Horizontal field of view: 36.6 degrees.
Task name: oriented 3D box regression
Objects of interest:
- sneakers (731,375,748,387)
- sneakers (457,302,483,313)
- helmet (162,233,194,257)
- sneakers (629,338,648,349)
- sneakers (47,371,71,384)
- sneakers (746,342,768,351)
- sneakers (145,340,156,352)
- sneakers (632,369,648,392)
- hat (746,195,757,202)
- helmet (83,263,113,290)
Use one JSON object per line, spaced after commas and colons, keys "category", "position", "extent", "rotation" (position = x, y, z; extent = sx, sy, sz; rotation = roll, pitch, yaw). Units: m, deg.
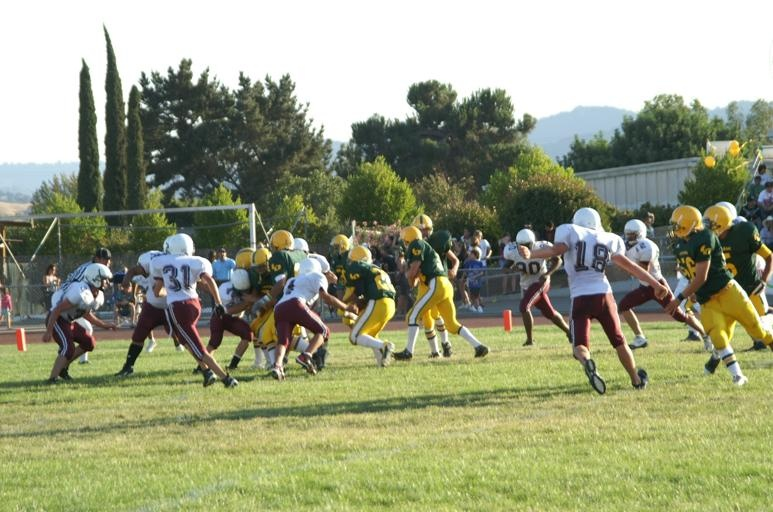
{"category": "sneakers", "position": [5.887, 2.066, 19.534], "extent": [0.238, 0.160, 0.261], "rotation": [-2, 1, 6]}
{"category": "sneakers", "position": [2.362, 1.350, 30.752], "extent": [0.213, 0.296, 0.617], "rotation": [-3, -3, -39]}
{"category": "helmet", "position": [-3.536, -0.227, 21.407], "extent": [0.472, 0.404, 0.380], "rotation": [29, 35, -14]}
{"category": "sneakers", "position": [4.847, 1.665, 22.423], "extent": [0.423, 0.230, 0.154], "rotation": [-5, 14, 24]}
{"category": "sneakers", "position": [-5.822, 2.290, 21.963], "extent": [0.144, 0.205, 0.448], "rotation": [5, -16, 28]}
{"category": "sneakers", "position": [6.750, 1.629, 21.497], "extent": [0.359, 0.284, 0.130], "rotation": [3, 7, 22]}
{"category": "sneakers", "position": [-4.808, 1.953, 25.319], "extent": [0.139, 0.196, 0.409], "rotation": [-2, -8, -4]}
{"category": "sneakers", "position": [4.277, 2.038, 19.666], "extent": [0.144, 0.443, 0.195], "rotation": [-9, -39, 27]}
{"category": "hat", "position": [9.613, -1.519, 30.959], "extent": [0.215, 0.190, 0.236], "rotation": [-5, -29, 15]}
{"category": "helmet", "position": [-5.161, 0.392, 22.159], "extent": [0.448, 0.466, 0.368], "rotation": [-7, 14, -19]}
